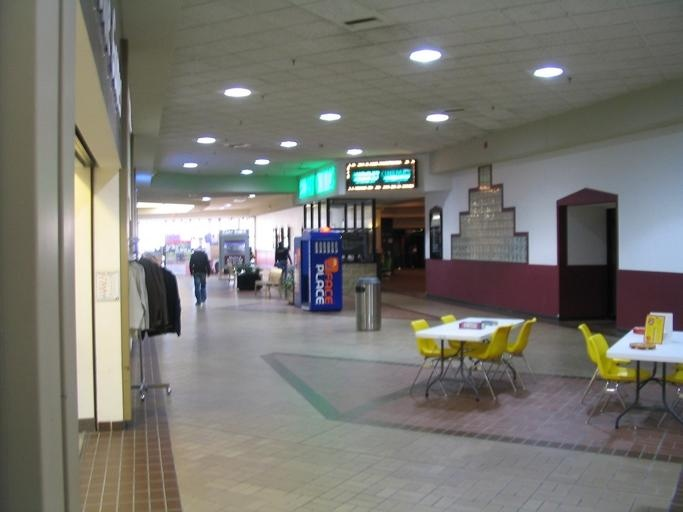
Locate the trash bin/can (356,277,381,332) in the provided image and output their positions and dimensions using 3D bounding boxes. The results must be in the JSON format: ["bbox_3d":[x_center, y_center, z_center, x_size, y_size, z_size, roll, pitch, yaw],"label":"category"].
[{"bbox_3d":[0.567,1.020,10.787,0.520,1.125,0.293,-1,2,-1],"label":"trash bin/can"}]
